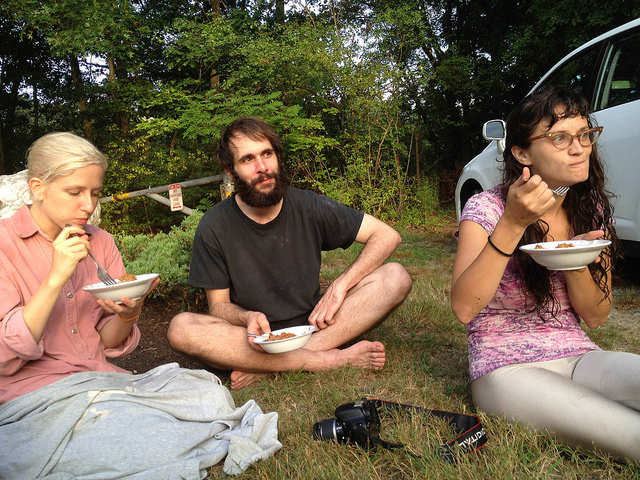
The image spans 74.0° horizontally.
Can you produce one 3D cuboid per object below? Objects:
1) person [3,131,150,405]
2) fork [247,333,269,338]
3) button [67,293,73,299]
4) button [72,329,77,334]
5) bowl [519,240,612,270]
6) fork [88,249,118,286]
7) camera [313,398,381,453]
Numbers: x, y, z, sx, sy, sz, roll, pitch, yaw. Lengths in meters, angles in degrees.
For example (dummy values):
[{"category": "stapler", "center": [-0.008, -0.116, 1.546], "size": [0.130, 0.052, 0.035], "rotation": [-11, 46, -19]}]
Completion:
[{"category": "person", "center": [-1.326, 0.133, 2.210], "size": [0.689, 1.372, 0.498], "rotation": [-11, 14, -24]}, {"category": "fork", "center": [-0.401, 0.620, 2.740], "size": [0.117, 0.013, 0.017], "rotation": [13, -14, 13]}, {"category": "button", "center": [-1.347, 0.302, 2.290], "size": [0.032, 0.031, 0.009], "rotation": [2, -2, -18]}, {"category": "button", "center": [-1.328, 0.497, 2.300], "size": [0.030, 0.030, 0.007], "rotation": [1, 1, -13]}, {"category": "bowl", "center": [1.167, 0.068, 2.031], "size": [0.235, 0.071, 0.240], "rotation": [-9, 2, 0]}, {"category": "fork", "center": [-1.248, 0.163, 2.433], "size": [0.030, 0.234, 0.028], "rotation": [-36, -2, -14]}, {"category": "camera", "center": [0.138, 0.981, 2.220], "size": [0.354, 0.228, 0.333], "rotation": [-17, 2, 11]}]
